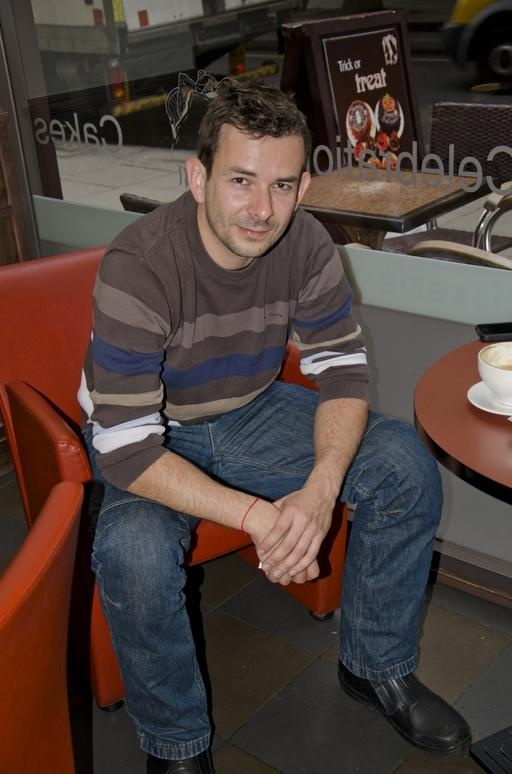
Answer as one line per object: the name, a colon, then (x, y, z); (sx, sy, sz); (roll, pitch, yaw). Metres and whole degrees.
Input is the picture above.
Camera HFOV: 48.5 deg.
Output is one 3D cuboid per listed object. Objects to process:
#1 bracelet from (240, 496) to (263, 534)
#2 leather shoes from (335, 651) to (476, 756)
bracelet: (-0.002, 0.239, 1.079); (0.013, 0.053, 0.047); (23, -31, -24)
leather shoes: (0.328, 0.671, 1.297); (0.101, 0.125, 0.296); (-39, 40, -27)
